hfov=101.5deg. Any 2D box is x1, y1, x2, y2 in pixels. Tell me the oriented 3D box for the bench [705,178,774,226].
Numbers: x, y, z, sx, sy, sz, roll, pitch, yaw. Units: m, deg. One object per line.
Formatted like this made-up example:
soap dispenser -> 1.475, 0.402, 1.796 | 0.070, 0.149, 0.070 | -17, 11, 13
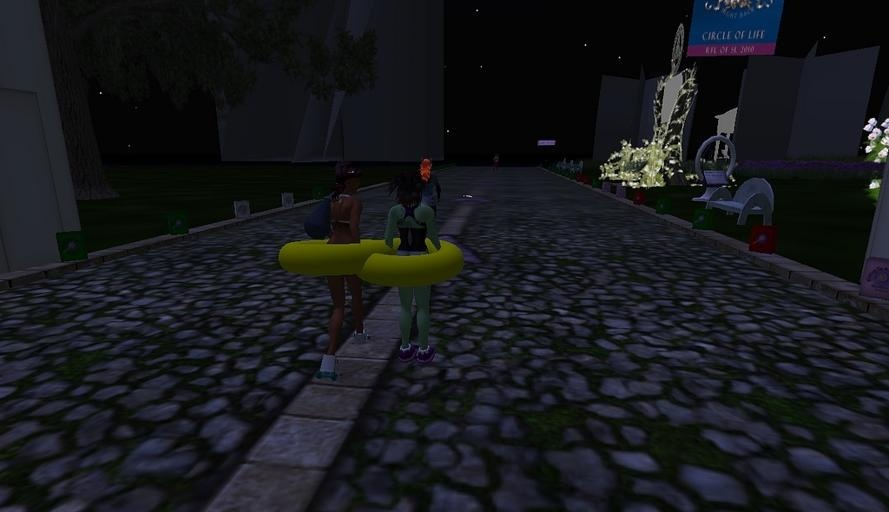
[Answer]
bench -> 9.312, -1.584, 11.560 | 1.521, 1.517, 2.400 | -1, 11, 3
